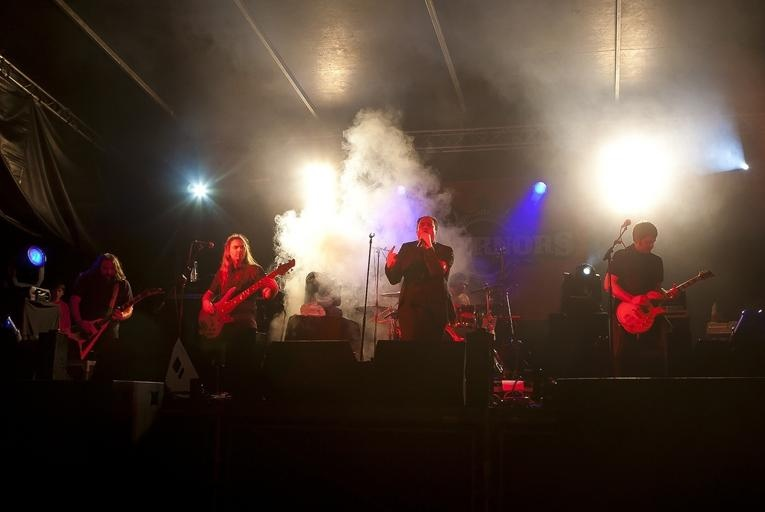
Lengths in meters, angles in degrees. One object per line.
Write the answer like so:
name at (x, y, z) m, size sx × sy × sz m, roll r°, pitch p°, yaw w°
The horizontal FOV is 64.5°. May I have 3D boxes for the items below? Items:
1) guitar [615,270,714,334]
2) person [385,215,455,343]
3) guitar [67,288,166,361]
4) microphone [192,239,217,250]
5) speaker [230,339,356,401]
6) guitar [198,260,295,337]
guitar at (3.471, 0.642, 7.788) m, size 0.917 × 0.808 × 0.511 m, roll -5°, pitch -27°, yaw 25°
person at (0.425, 0.288, 6.897) m, size 0.799 × 1.519 × 0.563 m, roll 5°, pitch -25°, yaw 4°
guitar at (-3.738, 0.905, 8.322) m, size 0.899 × 1.214 × 0.392 m, roll 20°, pitch -27°, yaw -25°
microphone at (-2.780, -0.191, 9.336) m, size 0.173 × 0.173 × 0.531 m, roll -9°, pitch 3°, yaw -24°
speaker at (-0.790, 1.071, 5.606) m, size 0.855 × 0.329 × 0.628 m, roll -5°, pitch -21°, yaw 10°
guitar at (-1.937, 0.600, 7.889) m, size 0.976 × 0.870 × 0.330 m, roll -10°, pitch -29°, yaw 32°
